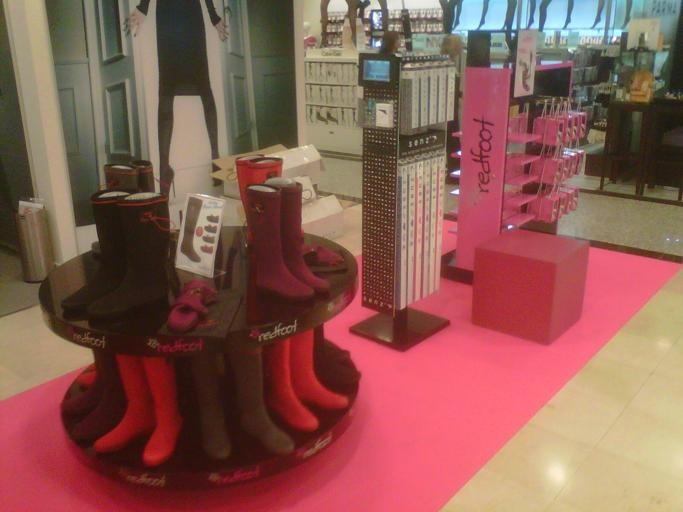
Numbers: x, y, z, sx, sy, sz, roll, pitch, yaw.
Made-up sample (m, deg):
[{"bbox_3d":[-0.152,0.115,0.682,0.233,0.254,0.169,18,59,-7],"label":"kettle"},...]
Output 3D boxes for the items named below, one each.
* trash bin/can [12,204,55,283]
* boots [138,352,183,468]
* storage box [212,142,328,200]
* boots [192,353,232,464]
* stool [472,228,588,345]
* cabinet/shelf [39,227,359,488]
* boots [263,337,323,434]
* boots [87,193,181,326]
[{"bbox_3d":[-2.715,-0.210,4.592,0.236,0.565,0.217,8,16,18],"label":"trash bin/can"},{"bbox_3d":[-0.853,0.705,2.429,0.130,0.421,0.260,-3,21,-2],"label":"boots"},{"bbox_3d":[-0.501,-0.902,5.570,0.838,0.307,0.748,-25,36,-28],"label":"storage box"},{"bbox_3d":[-0.639,0.709,2.556,0.190,0.439,0.572,1,4,-22],"label":"boots"},{"bbox_3d":[1.359,0.186,3.981,0.675,0.620,0.682,18,28,42],"label":"stool"},{"bbox_3d":[-0.603,0.547,2.513,1.095,0.564,1.178,0,26,-1],"label":"cabinet/shelf"},{"bbox_3d":[-0.263,0.657,2.672,0.180,0.422,0.547,-7,-5,-24],"label":"boots"},{"bbox_3d":[-0.958,-0.008,2.399,0.213,0.475,0.450,7,23,25],"label":"boots"}]
